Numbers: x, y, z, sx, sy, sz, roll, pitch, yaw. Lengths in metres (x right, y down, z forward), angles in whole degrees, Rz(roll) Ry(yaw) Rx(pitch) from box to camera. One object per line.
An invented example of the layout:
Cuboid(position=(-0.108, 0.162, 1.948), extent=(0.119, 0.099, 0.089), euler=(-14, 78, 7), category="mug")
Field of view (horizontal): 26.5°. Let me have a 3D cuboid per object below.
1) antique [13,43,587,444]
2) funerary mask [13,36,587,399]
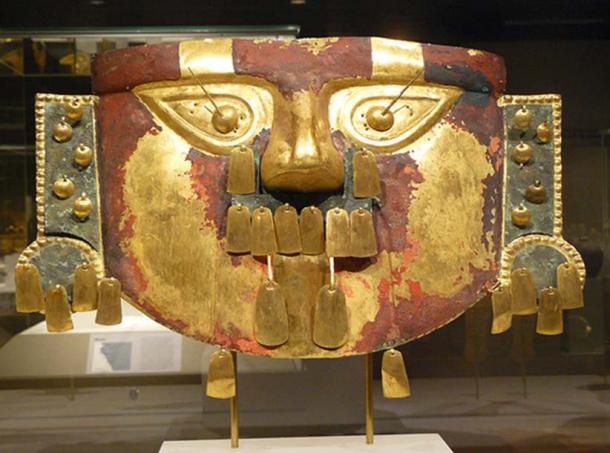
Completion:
Cuboid(position=(-0.102, 0.014, 4.371), extent=(1.894, 1.022, 0.294), euler=(0, 2, -2), category="antique")
Cuboid(position=(0.001, -0.104, 4.275), extent=(1.856, 1.047, 0.294), euler=(3, 9, 1), category="funerary mask")
